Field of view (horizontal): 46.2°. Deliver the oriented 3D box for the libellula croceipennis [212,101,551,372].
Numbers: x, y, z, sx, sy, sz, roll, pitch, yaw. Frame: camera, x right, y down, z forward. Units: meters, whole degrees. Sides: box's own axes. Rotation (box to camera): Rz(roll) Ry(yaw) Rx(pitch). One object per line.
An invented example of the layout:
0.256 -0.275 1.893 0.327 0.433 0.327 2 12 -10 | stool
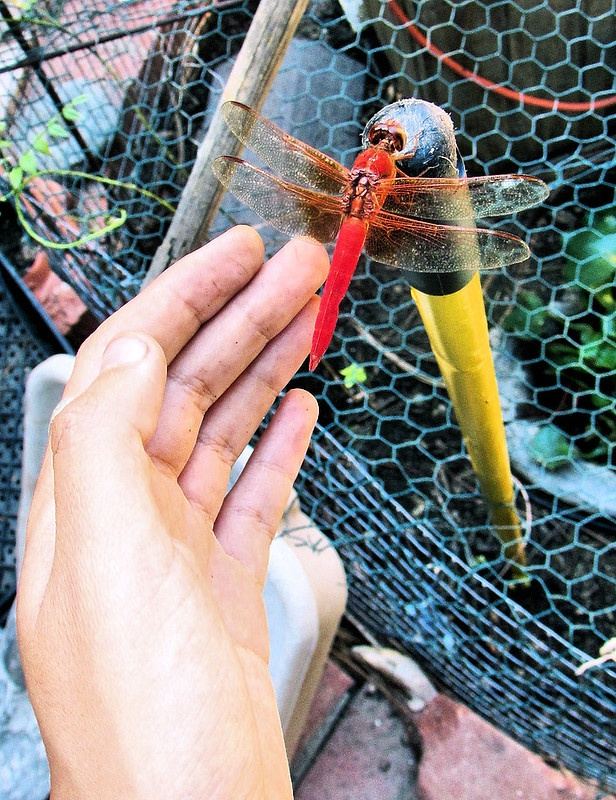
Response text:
0.111 -0.210 1.210 0.584 0.427 0.122 14 14 33 | libellula croceipennis
